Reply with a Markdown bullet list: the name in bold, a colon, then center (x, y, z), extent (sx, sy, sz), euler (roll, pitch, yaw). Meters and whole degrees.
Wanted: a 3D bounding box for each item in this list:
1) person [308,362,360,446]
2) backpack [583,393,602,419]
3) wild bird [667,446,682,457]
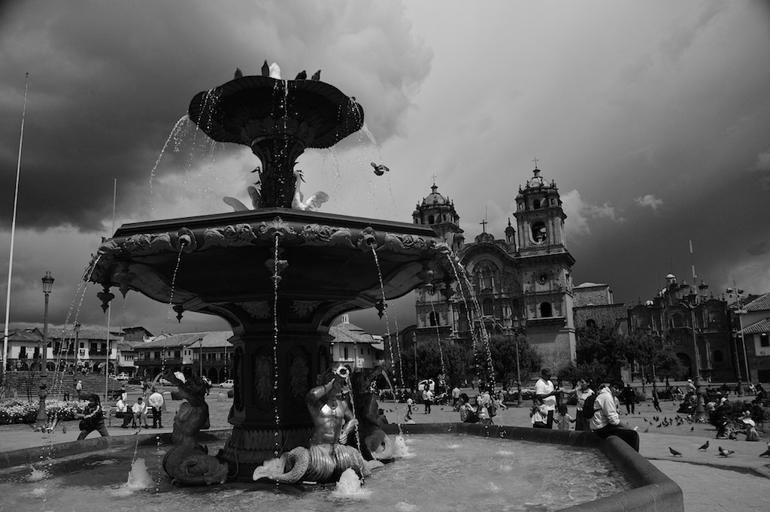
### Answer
- **person**: center (-0.833, 2.323, 10.451), extent (0.673, 1.184, 0.533), euler (-6, -13, 13)
- **backpack**: center (3.756, 2.707, 12.184), extent (0.263, 0.446, 0.482), euler (-5, -14, 9)
- **wild bird**: center (6.497, 4.358, 14.996), extent (0.227, 0.181, 0.624), euler (-9, -15, 23)
